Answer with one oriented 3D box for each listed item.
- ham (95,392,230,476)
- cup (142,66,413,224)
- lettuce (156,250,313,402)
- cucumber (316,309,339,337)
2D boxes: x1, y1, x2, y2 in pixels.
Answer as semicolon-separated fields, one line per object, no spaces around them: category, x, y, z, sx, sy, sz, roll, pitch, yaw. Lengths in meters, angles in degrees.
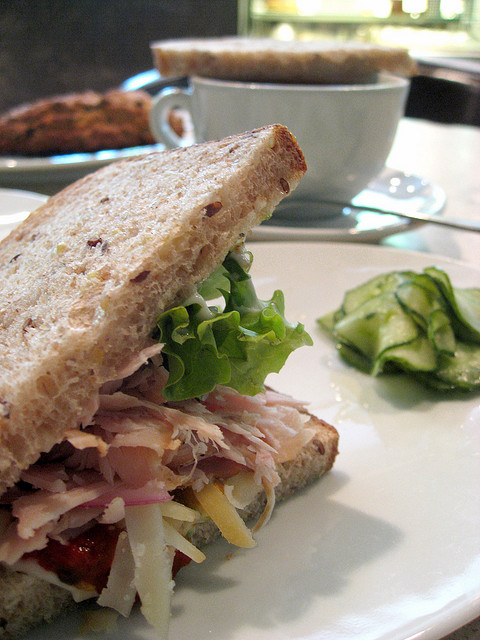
ham;-0.066;0.107;0.713;0.118;0.046;0.104;31;-5;-25
cup;0.060;-0.372;1.609;0.659;0.302;0.486;2;22;10
lettuce;-0.044;0.002;0.761;0.209;0.131;0.211;10;-10;-39
cucumber;0.159;0.006;1.180;0.041;0.009;0.037;-8;32;43
